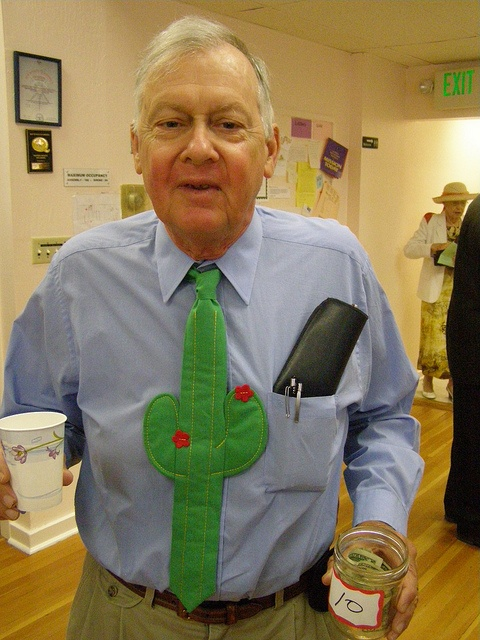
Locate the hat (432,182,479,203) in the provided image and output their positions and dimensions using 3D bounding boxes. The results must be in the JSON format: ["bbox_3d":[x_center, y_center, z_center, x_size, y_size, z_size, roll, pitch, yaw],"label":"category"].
[{"bbox_3d":[2.051,-1.203,4.759,0.369,0.196,0.457,-11,7,10],"label":"hat"}]

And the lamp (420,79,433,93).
[{"bbox_3d":[1.770,-2.221,4.709,0.093,0.139,0.133,0,7,25],"label":"lamp"}]

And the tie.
[{"bbox_3d":[-0.056,0.159,0.709,0.150,0.424,0.187,-9,18,-32],"label":"tie"}]
